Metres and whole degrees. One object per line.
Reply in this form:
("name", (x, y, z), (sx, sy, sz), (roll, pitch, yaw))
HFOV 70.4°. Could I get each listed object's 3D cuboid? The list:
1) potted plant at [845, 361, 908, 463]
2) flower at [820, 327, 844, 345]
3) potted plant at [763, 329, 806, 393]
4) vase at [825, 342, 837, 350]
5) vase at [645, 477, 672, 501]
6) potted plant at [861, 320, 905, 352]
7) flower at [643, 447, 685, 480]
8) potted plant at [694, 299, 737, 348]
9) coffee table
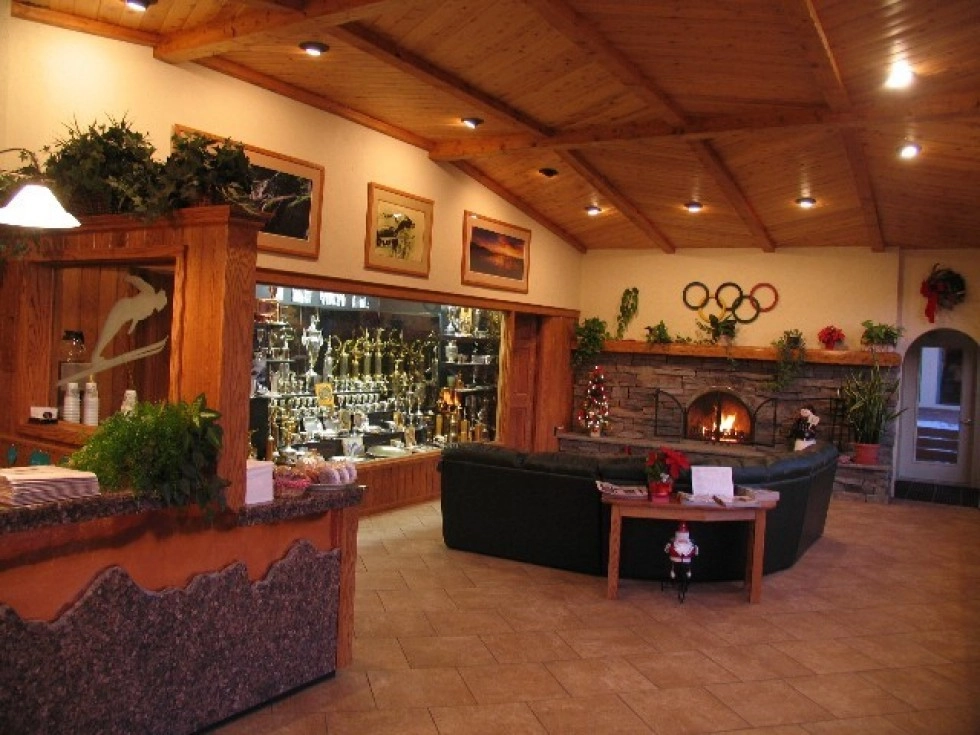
("potted plant", (5.091, 0.626, 9.366), (0.713, 1.319, 0.453), (2, 1, 20))
("flower", (4.774, -0.417, 9.724), (0.277, 0.264, 0.281), (-1, 0, 42))
("potted plant", (4.196, -0.110, 9.780), (0.376, 0.780, 0.558), (2, -4, 38))
("vase", (4.757, -0.295, 9.739), (0.096, 0.070, 0.095), (0, -1, 3))
("vase", (1.373, 0.962, 5.519), (0.270, 0.143, 0.145), (2, 1, -28))
("potted plant", (5.368, -0.415, 9.512), (0.459, 0.316, 0.451), (1, 1, -30))
("flower", (1.427, 0.752, 5.600), (0.255, 0.132, 0.258), (3, 4, 28))
("potted plant", (3.380, -0.651, 10.414), (0.619, 0.392, 0.634), (9, 6, 1))
("coffee table", (1.603, 1.439, 5.666), (1.468, 0.772, 0.505), (2, 1, -6))
